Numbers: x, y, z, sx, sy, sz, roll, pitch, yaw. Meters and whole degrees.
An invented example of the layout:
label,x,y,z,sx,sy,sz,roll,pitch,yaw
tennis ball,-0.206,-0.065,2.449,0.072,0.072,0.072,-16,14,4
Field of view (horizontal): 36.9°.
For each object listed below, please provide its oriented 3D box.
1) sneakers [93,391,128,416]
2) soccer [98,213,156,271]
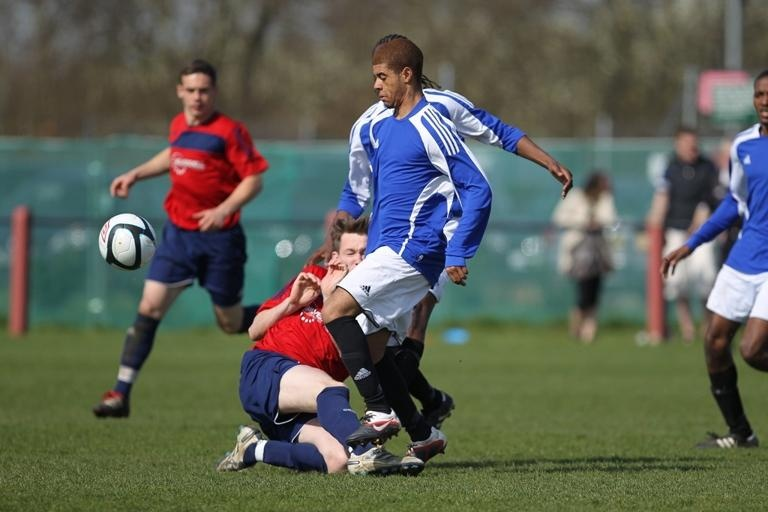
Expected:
label,x,y,z,sx,sy,sz,roll,pitch,yaw
sneakers,-2.338,1.295,10.017,0.163,0.165,0.323,-3,-9,41
soccer,-2.212,-0.129,10.305,0.499,0.478,0.503,2,0,25
